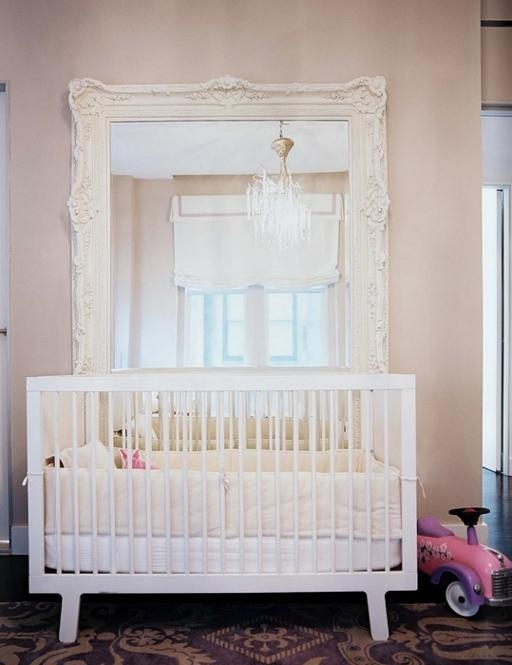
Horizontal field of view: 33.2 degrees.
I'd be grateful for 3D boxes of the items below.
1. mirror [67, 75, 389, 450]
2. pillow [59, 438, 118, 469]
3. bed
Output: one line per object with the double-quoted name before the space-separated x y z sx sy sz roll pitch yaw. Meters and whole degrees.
"mirror" -0.075 -0.289 3.302 1.366 1.476 0.068 0 -1 -1
"pillow" -0.576 0.420 2.917 0.150 0.047 0.134 1 12 -37
"bed" -0.111 0.558 3.080 1.232 0.869 0.681 0 1 -2
